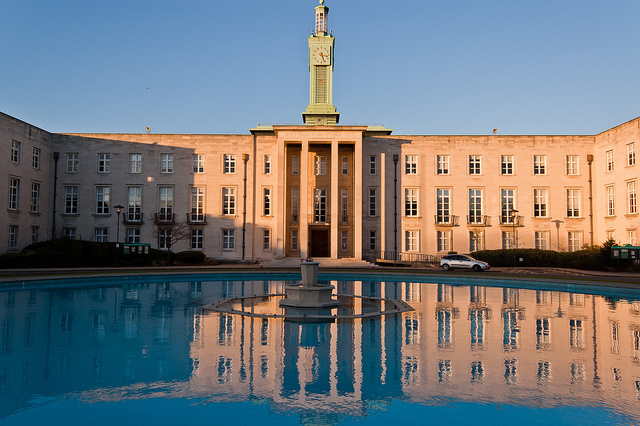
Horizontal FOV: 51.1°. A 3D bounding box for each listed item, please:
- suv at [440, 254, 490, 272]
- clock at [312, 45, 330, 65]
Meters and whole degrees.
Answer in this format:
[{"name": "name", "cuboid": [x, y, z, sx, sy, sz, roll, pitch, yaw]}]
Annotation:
[{"name": "suv", "cuboid": [10.483, 3.579, 48.409, 3.020, 0.907, 1.357, -3, -5, 24]}, {"name": "clock", "cuboid": [0.125, -14.453, 61.443, 2.097, 2.077, 0.309, 0, -16, 1]}]
